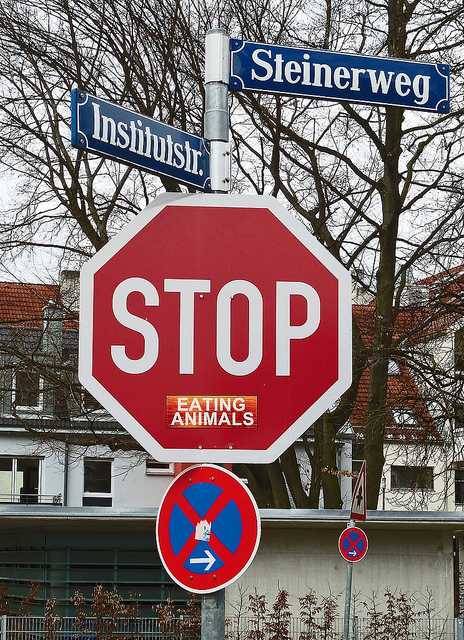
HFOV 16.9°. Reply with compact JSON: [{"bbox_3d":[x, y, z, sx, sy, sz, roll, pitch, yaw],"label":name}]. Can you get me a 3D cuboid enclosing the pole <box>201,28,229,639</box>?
[{"bbox_3d":[-0.099,0.056,9.549,0.176,3.697,0.195,-1,-7,11],"label":"pole"}]
